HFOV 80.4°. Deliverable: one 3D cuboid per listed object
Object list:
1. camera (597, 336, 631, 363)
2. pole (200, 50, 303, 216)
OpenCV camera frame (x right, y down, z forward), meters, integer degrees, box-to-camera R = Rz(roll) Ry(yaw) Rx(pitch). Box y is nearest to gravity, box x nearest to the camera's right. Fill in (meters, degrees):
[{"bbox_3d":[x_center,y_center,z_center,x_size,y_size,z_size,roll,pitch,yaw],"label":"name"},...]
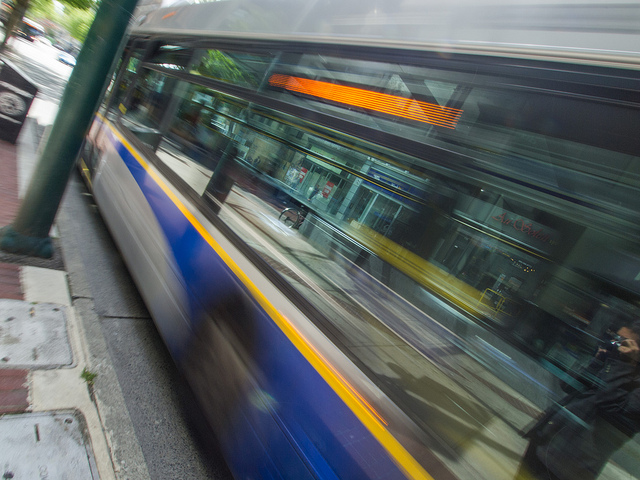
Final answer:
[{"bbox_3d":[1.114,0.420,1.444,0.055,0.060,0.106,16,4,-31],"label":"camera"},{"bbox_3d":[-0.568,-0.833,2.999,0.105,0.961,0.502,19,13,-38],"label":"pole"}]
